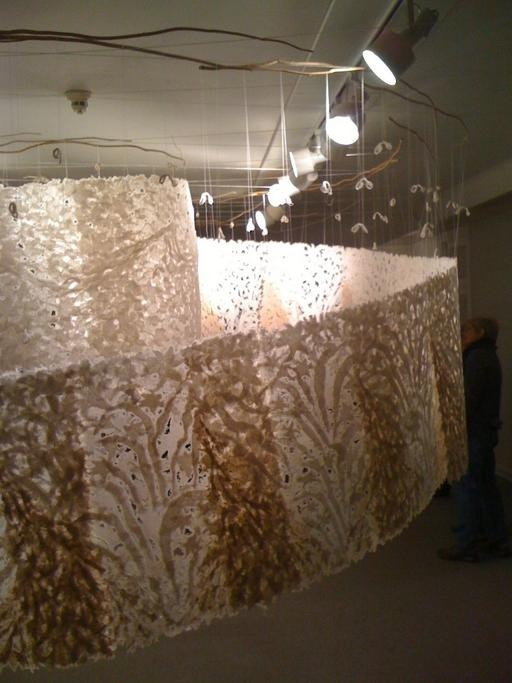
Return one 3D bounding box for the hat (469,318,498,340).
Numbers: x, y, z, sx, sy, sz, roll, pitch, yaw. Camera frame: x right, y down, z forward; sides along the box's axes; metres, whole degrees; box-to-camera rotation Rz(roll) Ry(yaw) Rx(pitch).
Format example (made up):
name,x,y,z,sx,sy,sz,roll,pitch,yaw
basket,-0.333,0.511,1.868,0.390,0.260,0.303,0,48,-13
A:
name,x,y,z,sx,sy,sz,roll,pitch,yaw
hat,1.183,-0.076,2.702,0.084,0.130,0.117,-6,30,-32
